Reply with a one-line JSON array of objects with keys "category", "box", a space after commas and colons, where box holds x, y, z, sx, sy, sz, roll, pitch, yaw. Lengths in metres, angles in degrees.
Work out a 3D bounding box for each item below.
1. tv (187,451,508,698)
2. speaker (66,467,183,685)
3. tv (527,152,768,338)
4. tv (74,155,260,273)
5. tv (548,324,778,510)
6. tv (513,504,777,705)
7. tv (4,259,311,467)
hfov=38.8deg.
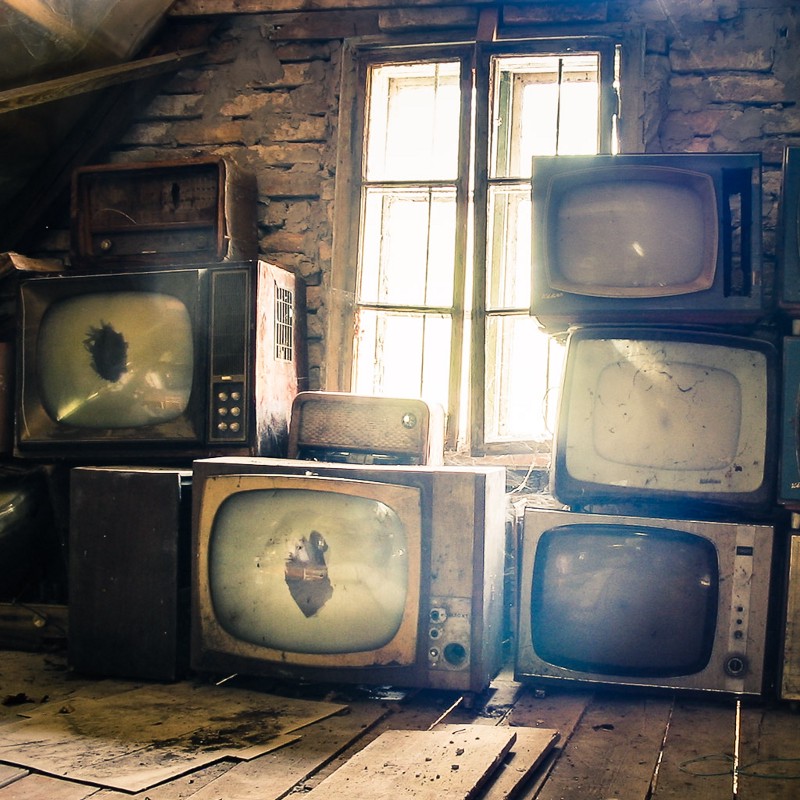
[{"category": "tv", "box": [-0.131, 0.443, 2.904, 0.746, 0.567, 0.407, 2, 0, 10]}, {"category": "speaker", "box": [-0.692, 0.449, 2.908, 0.314, 0.528, 0.191, 0, 7, -6]}, {"category": "tv", "box": [0.612, -0.409, 2.833, 0.685, 0.489, 0.402, -1, -7, 11]}, {"category": "tv", "box": [-0.694, -0.570, 3.474, 0.596, 0.356, 0.519, -1, 7, -15]}, {"category": "tv", "box": [0.653, 0.049, 2.933, 0.550, 0.448, 0.295, 4, 0, -6]}, {"category": "tv", "box": [0.671, 0.534, 2.908, 0.660, 0.419, 0.360, -2, -13, 31]}, {"category": "tv", "box": [-0.874, -0.102, 3.462, 0.780, 0.530, 0.460, 0, 4, -33]}]
